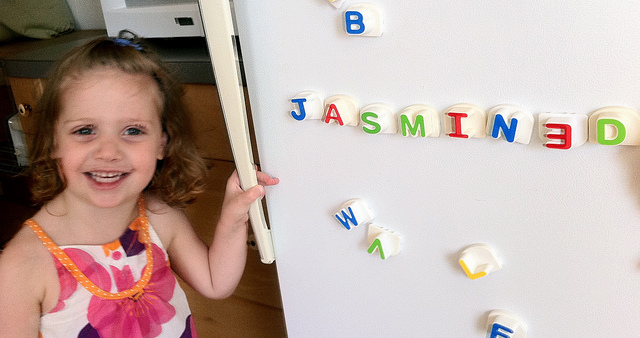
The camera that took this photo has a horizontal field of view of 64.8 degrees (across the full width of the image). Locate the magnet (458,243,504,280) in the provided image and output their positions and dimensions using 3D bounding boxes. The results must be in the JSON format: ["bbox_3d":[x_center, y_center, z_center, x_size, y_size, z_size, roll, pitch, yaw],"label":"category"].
[{"bbox_3d":[0.366,0.211,1.148,0.093,0.070,0.034,-23,13,26],"label":"magnet"}]

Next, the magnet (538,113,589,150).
[{"bbox_3d":[0.495,-0.074,1.040,0.092,0.078,0.048,9,35,35],"label":"magnet"}]

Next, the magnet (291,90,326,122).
[{"bbox_3d":[-0.024,-0.144,1.181,0.081,0.063,0.046,-5,11,23],"label":"magnet"}]

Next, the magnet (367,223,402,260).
[{"bbox_3d":[0.166,0.169,1.262,0.099,0.076,0.087,10,16,42],"label":"magnet"}]

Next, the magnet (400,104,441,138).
[{"bbox_3d":[0.221,-0.104,1.106,0.082,0.073,0.032,6,13,24],"label":"magnet"}]
